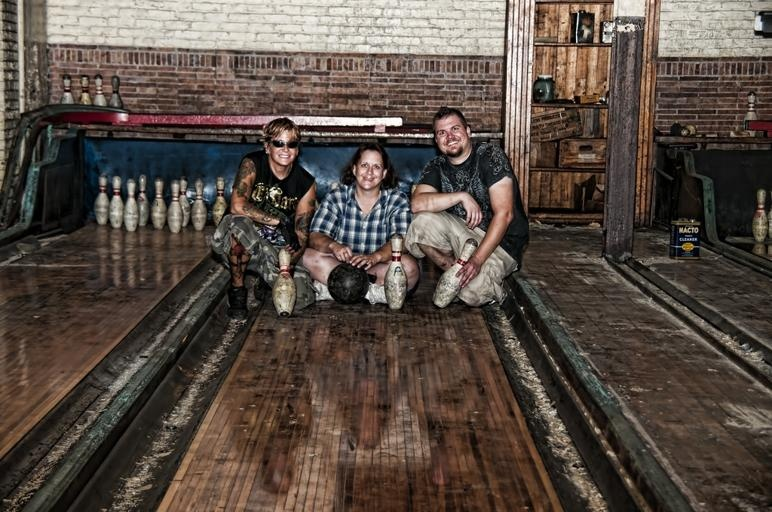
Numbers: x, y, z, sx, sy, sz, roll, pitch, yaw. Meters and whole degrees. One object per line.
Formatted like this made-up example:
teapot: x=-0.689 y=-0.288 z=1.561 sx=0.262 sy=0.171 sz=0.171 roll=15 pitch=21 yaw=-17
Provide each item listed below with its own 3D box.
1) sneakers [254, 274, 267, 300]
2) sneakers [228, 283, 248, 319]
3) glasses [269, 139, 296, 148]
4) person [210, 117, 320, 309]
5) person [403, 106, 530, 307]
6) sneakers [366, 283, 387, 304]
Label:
sneakers: x=-0.925 y=0.239 z=3.991 sx=0.106 sy=0.162 sz=0.039 roll=-11 pitch=6 yaw=-41
sneakers: x=-1.020 y=0.323 z=3.725 sx=0.121 sy=0.216 sz=0.133 roll=-3 pitch=15 yaw=-11
glasses: x=-0.699 y=-0.775 z=3.739 sx=0.180 sy=0.055 sz=0.057 roll=-1 pitch=15 yaw=-5
person: x=-0.831 y=-0.307 z=3.832 sx=0.769 sy=1.331 sz=0.977 roll=10 pitch=11 yaw=8
person: x=0.584 y=-0.333 z=3.886 sx=0.878 sy=1.399 sz=0.694 roll=4 pitch=15 yaw=13
sneakers: x=-0.067 y=0.269 z=3.863 sx=0.155 sy=0.111 sz=0.083 roll=-2 pitch=-3 yaw=22
